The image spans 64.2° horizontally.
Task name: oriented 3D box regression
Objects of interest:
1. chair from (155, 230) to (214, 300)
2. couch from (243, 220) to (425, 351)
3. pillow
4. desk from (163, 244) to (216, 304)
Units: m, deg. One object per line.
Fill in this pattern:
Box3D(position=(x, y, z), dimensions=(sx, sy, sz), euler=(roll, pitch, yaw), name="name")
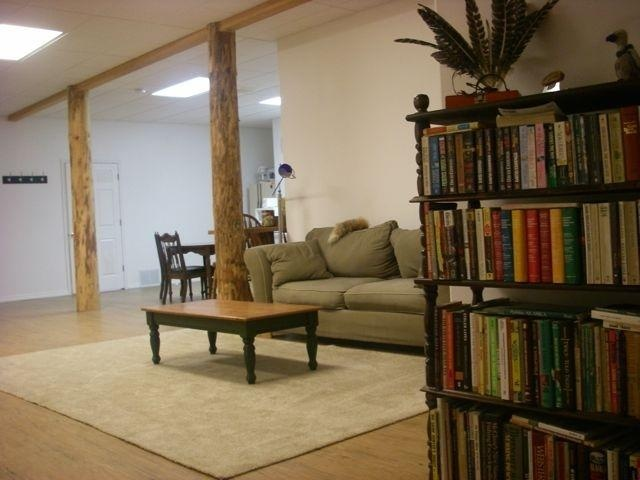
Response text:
Box3D(position=(-1.970, 0.193, 7.632), dimensions=(0.598, 0.741, 0.554), euler=(-7, 17, 12), name="chair")
Box3D(position=(0.488, 0.433, 4.862), dimensions=(2.293, 1.113, 1.021), euler=(0, 3, 37), name="couch")
Box3D(position=(-0.196, 0.222, 5.037), dimensions=(0.505, 0.147, 0.486), euler=(-3, 39, -15), name="pillow")
Box3D(position=(-1.966, 0.470, 7.807), dimensions=(0.678, 0.709, 0.779), euler=(-2, -6, -11), name="desk")
